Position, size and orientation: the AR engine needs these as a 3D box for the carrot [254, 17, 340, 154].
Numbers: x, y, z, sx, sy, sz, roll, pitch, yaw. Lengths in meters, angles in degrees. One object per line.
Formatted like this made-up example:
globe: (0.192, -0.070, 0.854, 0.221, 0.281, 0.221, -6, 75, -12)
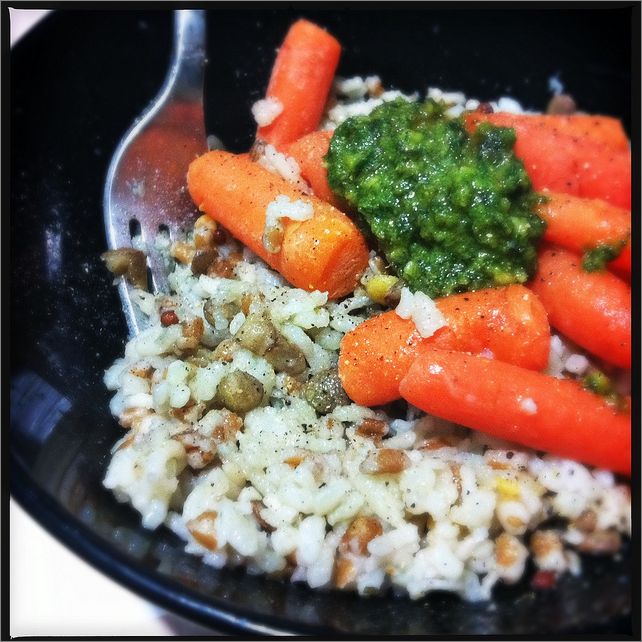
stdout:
carrot: (-0.070, -0.629, 2.099, 0.171, 0.124, 0.406, 16, -75, -10)
